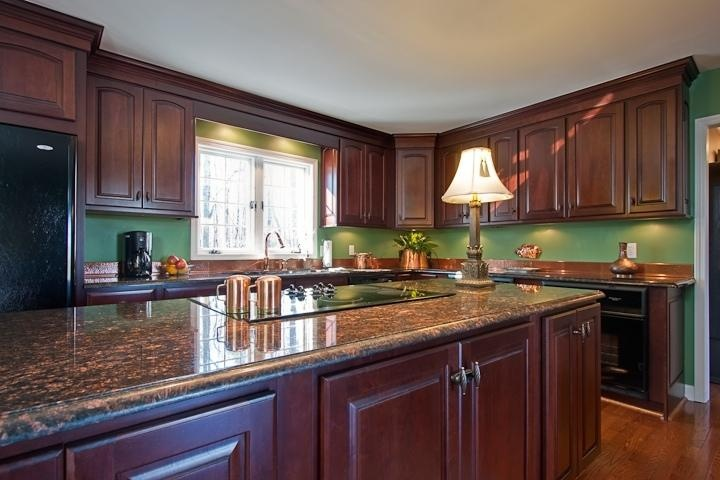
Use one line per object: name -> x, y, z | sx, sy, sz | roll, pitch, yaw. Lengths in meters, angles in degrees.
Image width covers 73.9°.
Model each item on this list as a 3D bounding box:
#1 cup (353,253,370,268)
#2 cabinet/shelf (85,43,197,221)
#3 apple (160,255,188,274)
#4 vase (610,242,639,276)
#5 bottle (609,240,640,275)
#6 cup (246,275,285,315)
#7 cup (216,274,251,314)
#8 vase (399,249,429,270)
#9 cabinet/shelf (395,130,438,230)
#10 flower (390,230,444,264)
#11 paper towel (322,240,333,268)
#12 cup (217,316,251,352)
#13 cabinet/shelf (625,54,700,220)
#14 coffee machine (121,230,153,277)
cup -> 0.018, 0.237, 5.669 | 0.193, 0.174, 0.191 | -1, 2, 0
cabinet/shelf -> -1.833, -0.858, 4.005 | 0.873, 1.295, 0.382 | -5, 14, -24
apple -> -1.639, 0.230, 4.231 | 0.198, 0.096, 0.188 | 6, 0, -42
vase -> 2.354, 0.173, 4.306 | 0.316, 0.359, 0.314 | -3, -3, 29
bottle -> 2.418, 0.159, 4.233 | 0.313, 0.338, 0.312 | -3, -2, 39
cup -> -0.457, 0.269, 2.383 | 0.125, 0.167, 0.214 | -2, 12, -14
cup -> -0.640, 0.256, 2.460 | 0.136, 0.169, 0.356 | -3, 12, -16
vase -> 0.671, 0.239, 5.886 | 0.274, 0.179, 0.263 | 0, -2, -2
cabinet/shelf -> 0.646, -0.704, 5.671 | 0.471, 1.087, 0.281 | 2, 13, 3
flower -> 0.686, 0.095, 6.012 | 0.417, 0.248, 0.407 | 4, -6, -36
paper towel -> -0.372, 0.155, 5.430 | 0.121, 0.314, 0.287 | 0, 12, -2
cup -> -0.545, 0.425, 2.110 | 0.087, 0.131, 0.145 | 0, -2, 22
cabinet/shelf -> 2.488, -0.843, 4.027 | 0.564, 1.293, 0.247 | 9, 15, 33
coffee machine -> -1.889, 0.121, 4.027 | 0.262, 0.367, 0.555 | -5, 13, -26
